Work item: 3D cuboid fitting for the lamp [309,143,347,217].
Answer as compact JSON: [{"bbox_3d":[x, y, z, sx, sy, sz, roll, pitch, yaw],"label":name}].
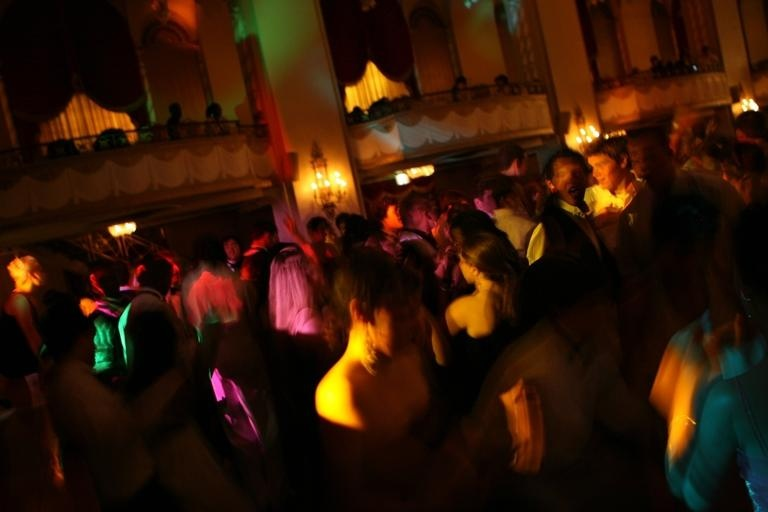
[{"bbox_3d":[-1.168,-1.428,11.132,0.703,1.533,0.689,-19,11,-30],"label":"lamp"}]
